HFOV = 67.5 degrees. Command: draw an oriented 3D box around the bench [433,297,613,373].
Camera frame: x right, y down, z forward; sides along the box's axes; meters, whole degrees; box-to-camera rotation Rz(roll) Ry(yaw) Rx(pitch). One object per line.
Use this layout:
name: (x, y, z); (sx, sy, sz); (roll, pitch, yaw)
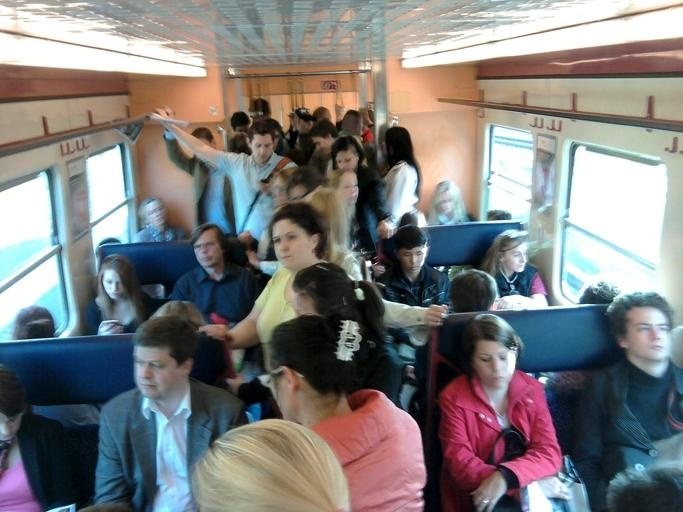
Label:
bench: (1.015, 0.479, 2.793); (1.008, 0.316, 0.331); (-1, -16, -4)

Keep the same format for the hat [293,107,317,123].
hat: (-0.401, -1.510, 5.525); (0.214, 0.070, 0.156); (27, 10, -3)

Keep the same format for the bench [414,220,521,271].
bench: (1.168, -0.078, 4.342); (0.344, 0.363, 1.090); (3, -2, -36)
